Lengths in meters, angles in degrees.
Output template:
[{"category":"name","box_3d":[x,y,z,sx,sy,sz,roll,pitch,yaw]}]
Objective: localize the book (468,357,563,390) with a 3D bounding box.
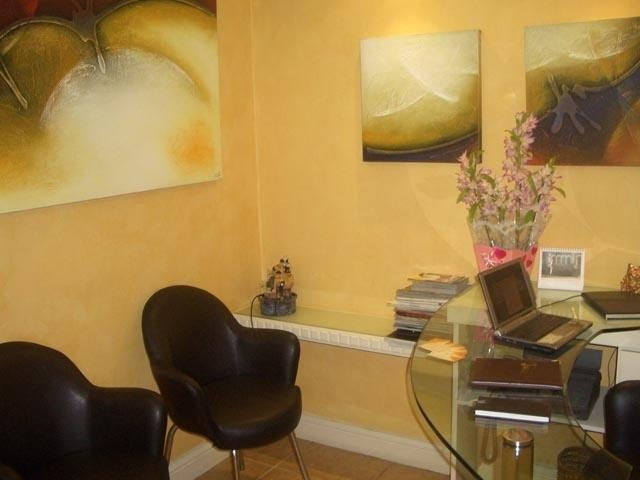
[{"category":"book","box_3d":[0.667,0.456,1.812,0.180,0.045,0.139,0,5,14]}]

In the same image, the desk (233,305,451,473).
[{"category":"desk","box_3d":[0.122,0.861,3.062,0.965,0.595,0.256,4,6,30]}]

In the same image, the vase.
[{"category":"vase","box_3d":[0.877,0.017,2.491,0.260,0.261,0.291,-3,-3,35]}]

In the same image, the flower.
[{"category":"flower","box_3d":[0.872,-0.271,2.498,0.424,0.621,0.240,2,19,19]}]

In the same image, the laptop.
[{"category":"laptop","box_3d":[0.883,0.251,2.163,0.384,0.248,0.331,-12,13,-41]}]
